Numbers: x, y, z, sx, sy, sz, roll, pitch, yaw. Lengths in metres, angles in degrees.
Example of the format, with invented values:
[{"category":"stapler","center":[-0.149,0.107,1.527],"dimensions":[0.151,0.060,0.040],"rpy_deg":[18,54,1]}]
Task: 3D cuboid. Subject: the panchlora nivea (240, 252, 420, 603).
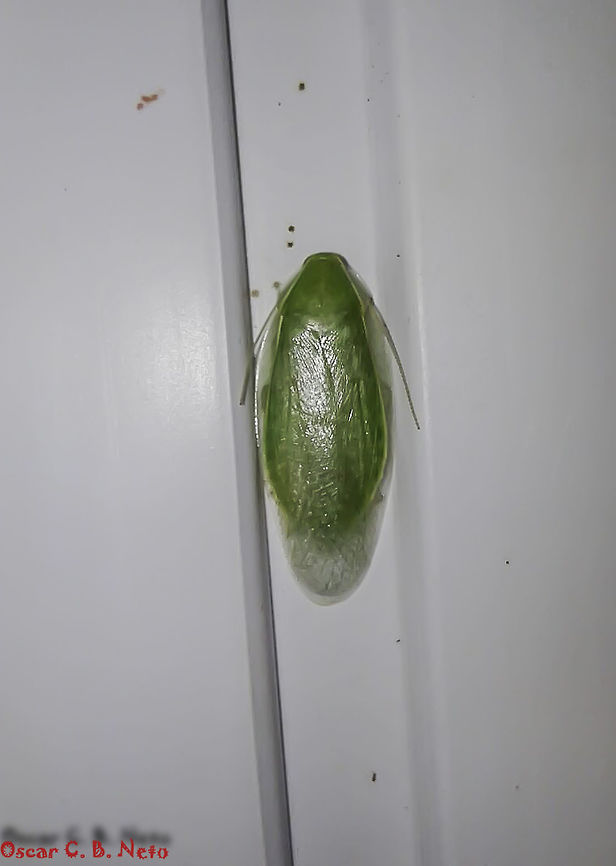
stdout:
[{"category":"panchlora nivea","center":[0.022,-0.009,0.940],"dimensions":[0.152,0.410,0.083],"rpy_deg":[-2,-20,1]}]
